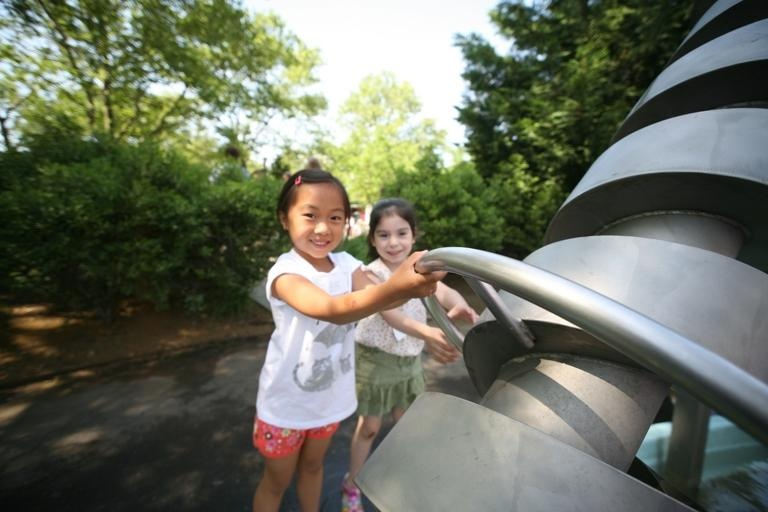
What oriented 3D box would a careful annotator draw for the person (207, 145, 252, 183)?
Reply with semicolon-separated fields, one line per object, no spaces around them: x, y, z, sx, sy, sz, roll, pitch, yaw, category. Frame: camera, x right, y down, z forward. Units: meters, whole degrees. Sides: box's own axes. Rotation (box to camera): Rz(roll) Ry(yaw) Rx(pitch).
-2.924;-1.796;8.562;0.559;0.774;2.430;7;7;-18;person
